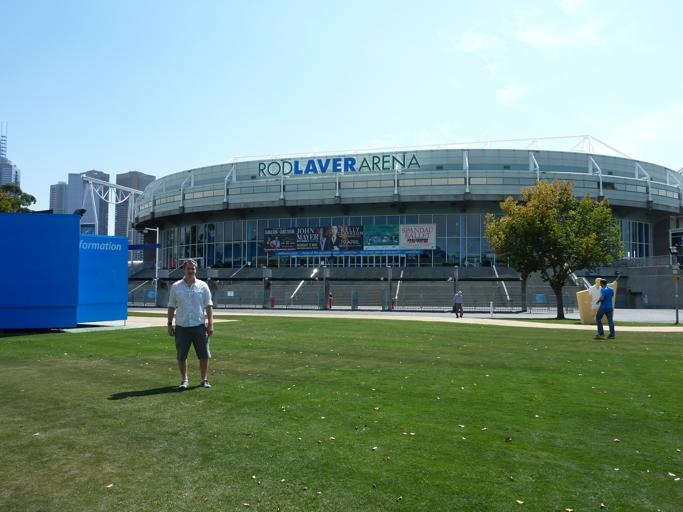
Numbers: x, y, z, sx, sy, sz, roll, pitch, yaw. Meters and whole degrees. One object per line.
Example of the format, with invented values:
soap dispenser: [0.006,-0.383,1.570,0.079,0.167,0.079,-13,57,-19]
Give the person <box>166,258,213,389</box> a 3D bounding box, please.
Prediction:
person: [-2.907,1.286,11.636,0.802,2.438,1.239,0,1,-14]

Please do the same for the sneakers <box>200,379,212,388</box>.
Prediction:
sneakers: [-2.595,2.442,11.533,0.118,0.101,0.240,6,-12,-34]
